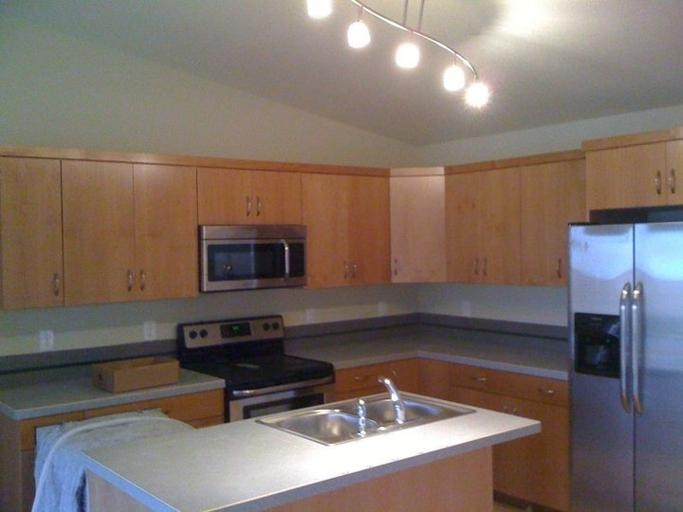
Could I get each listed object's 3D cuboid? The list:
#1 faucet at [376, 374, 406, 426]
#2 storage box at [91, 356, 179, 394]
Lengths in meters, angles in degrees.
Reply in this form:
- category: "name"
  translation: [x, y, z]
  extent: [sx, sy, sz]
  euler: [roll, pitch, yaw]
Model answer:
- category: "faucet"
  translation: [0.247, 0.706, 2.816]
  extent: [0.159, 0.260, 0.059]
  euler: [0, 21, -1]
- category: "storage box"
  translation: [-1.317, 0.738, 3.665]
  extent: [0.466, 0.148, 0.417]
  euler: [-2, 2, -34]
